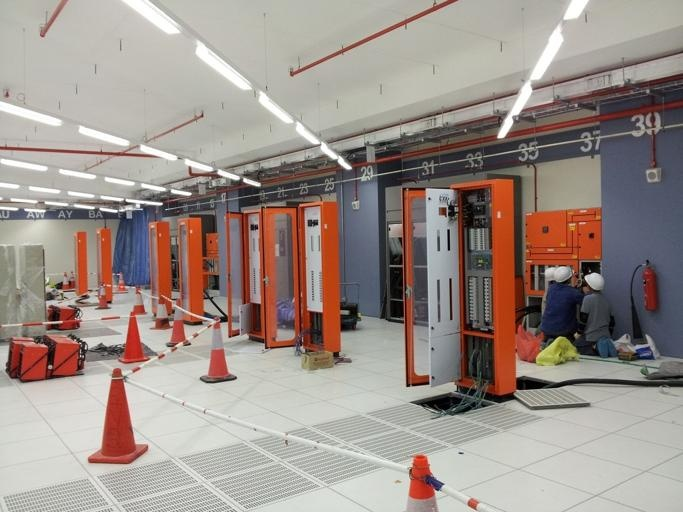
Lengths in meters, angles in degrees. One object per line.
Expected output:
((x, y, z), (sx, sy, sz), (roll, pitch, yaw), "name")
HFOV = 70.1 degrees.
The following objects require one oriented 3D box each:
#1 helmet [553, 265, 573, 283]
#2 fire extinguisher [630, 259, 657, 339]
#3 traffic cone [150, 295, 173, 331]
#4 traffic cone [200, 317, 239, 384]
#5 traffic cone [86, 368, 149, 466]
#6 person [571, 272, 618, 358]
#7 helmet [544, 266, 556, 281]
((4.326, 0.323, 9.453), (0.280, 0.175, 0.340), (4, 33, 47), "helmet")
((5.509, 0.817, 8.906), (0.466, 1.175, 0.267), (-2, 1, 44), "fire extinguisher")
((-4.803, 1.519, 13.049), (0.716, 0.856, 0.769), (-1, 1, 36), "traffic cone")
((-2.142, 1.618, 8.403), (0.852, 1.034, 0.864), (-2, -9, -16), "traffic cone")
((-2.598, 1.827, 5.649), (0.754, 0.952, 0.712), (1, -6, -20), "traffic cone")
((4.762, 1.105, 9.131), (0.676, 1.301, 0.408), (-2, 0, 23), "person")
((4.347, 0.377, 10.062), (0.289, 0.231, 0.220), (-36, 18, -31), "helmet")
